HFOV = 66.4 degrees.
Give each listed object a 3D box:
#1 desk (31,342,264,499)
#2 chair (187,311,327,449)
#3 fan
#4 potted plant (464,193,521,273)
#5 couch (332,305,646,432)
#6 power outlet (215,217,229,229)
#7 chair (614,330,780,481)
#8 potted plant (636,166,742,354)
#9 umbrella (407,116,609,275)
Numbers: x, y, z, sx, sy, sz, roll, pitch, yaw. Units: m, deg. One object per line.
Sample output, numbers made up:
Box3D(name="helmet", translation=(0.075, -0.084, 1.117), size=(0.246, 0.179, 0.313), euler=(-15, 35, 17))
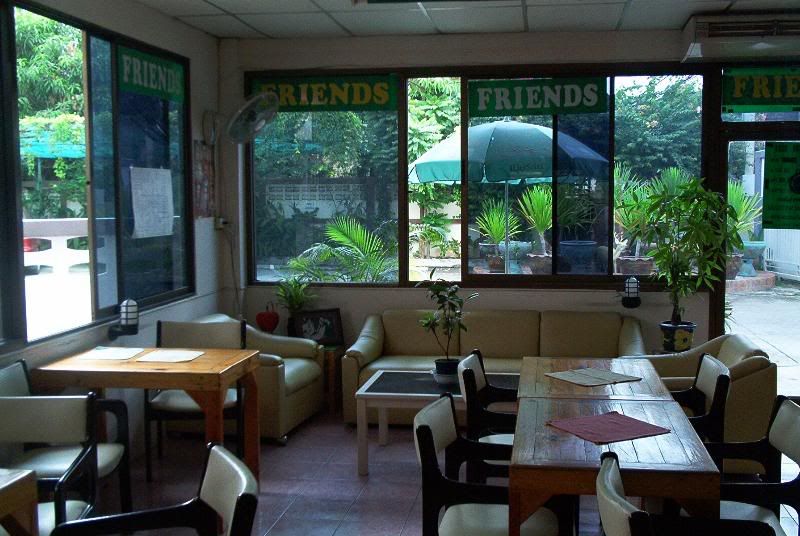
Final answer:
Box3D(name="desk", translation=(-1.731, 1.283, 4.328), size=(1.447, 1.057, 1.010), euler=(-1, 1, 6))
Box3D(name="chair", translation=(-1.357, 1.031, 6.018), size=(1.120, 1.161, 1.131), euler=(-1, 2, 6))
Box3D(name="fan", translation=(-1.506, -1.475, 6.249), size=(0.884, 0.464, 1.620), euler=(-6, 11, -28))
Box3D(name="potted plant", translation=(1.052, -0.397, 7.339), size=(0.739, 1.157, 0.738), euler=(1, 2, 9))
Box3D(name="couch", translation=(0.954, 0.957, 6.193), size=(2.965, 0.976, 0.959), euler=(-1, 8, 15))
Box3D(name="power outlet", translation=(-2.006, -0.501, 6.857), size=(0.181, 0.190, 0.063), euler=(0, 6, -7))
Box3D(name="chair", translation=(2.305, 1.104, 5.016), size=(1.140, 1.033, 1.179), euler=(-1, 3, 15))
Box3D(name="potted plant", translation=(2.886, -0.120, 6.227), size=(1.032, 1.685, 0.852), euler=(-4, 10, -20))
Box3D(name="umbrella", translation=(1.145, -0.878, 7.450), size=(1.746, 1.479, 1.723), euler=(0, 7, 3))
